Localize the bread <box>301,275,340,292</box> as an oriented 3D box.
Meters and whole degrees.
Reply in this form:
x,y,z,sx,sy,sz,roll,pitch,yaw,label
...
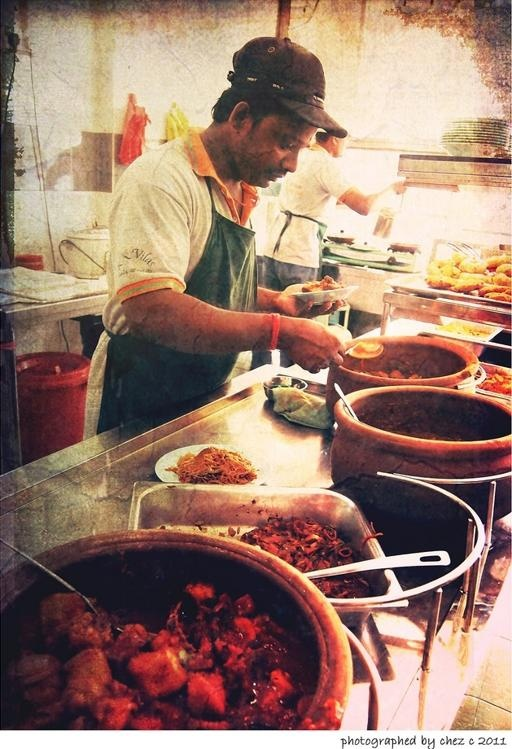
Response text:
x,y,z,sx,sy,sz,roll,pitch,yaw,label
0.162,-0.233,1.630,0.062,0.019,0.064,-9,18,20,bread

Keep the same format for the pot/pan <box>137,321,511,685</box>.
x,y,z,sx,sy,sz,roll,pitch,yaw,label
0.013,0.284,1.514,0.608,0.517,1.161,4,17,2,pot/pan

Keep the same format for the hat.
x,y,z,sx,sy,sz,roll,pitch,yaw,label
0.060,-0.531,1.126,0.171,0.092,0.119,28,36,3,hat

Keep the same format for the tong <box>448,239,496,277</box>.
x,y,z,sx,sy,sz,roll,pitch,yaw,label
0.563,-0.302,1.600,0.088,0.043,0.109,1,14,-21,tong

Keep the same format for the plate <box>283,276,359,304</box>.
x,y,z,sx,sy,sz,roll,pitch,yaw,label
0.164,-0.239,1.658,0.193,0.071,0.168,-3,16,-10,plate
